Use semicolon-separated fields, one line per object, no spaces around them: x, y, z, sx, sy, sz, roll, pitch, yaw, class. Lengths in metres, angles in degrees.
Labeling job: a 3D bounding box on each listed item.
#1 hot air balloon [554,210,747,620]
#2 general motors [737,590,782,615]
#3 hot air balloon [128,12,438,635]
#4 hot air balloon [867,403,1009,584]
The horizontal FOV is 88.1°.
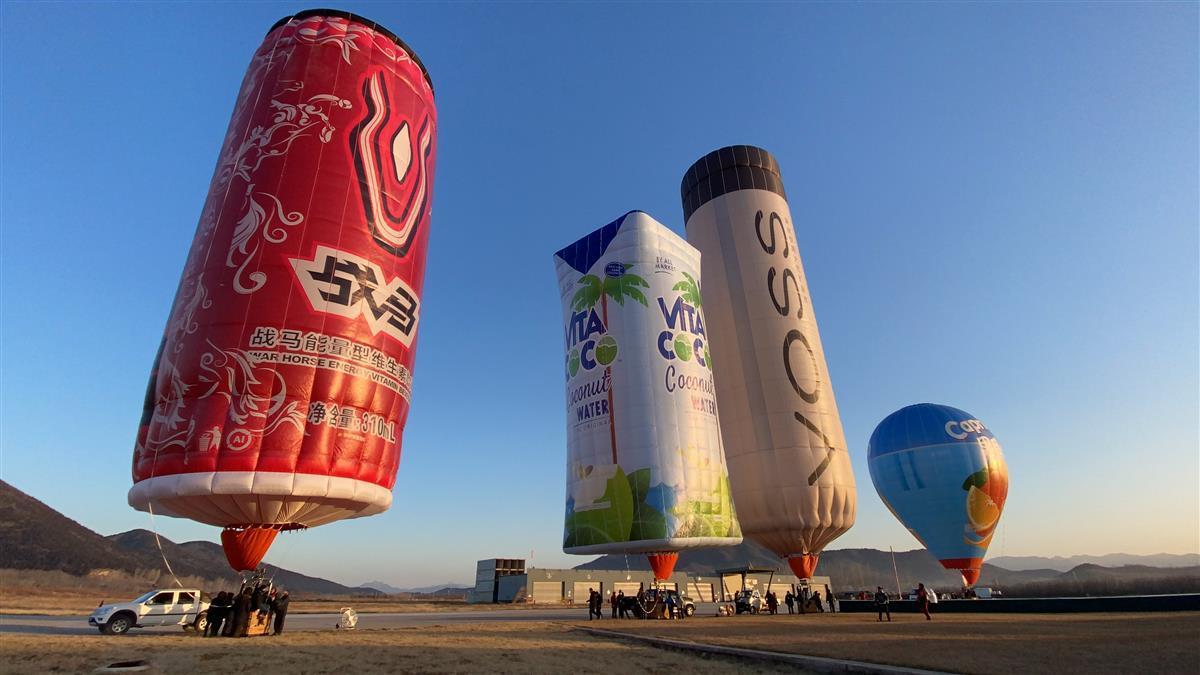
2.781;2.840;46.072;10.831;24.226;6.271;-1;-27;1;hot air balloon
12.448;20.453;48.016;4.084;1.818;2.254;18;-39;-29;general motors
-16.033;-5.046;34.868;12.097;29.056;8.674;8;-28;-16;hot air balloon
31.301;13.010;57.272;9.907;13.680;4.801;-12;-29;22;hot air balloon
